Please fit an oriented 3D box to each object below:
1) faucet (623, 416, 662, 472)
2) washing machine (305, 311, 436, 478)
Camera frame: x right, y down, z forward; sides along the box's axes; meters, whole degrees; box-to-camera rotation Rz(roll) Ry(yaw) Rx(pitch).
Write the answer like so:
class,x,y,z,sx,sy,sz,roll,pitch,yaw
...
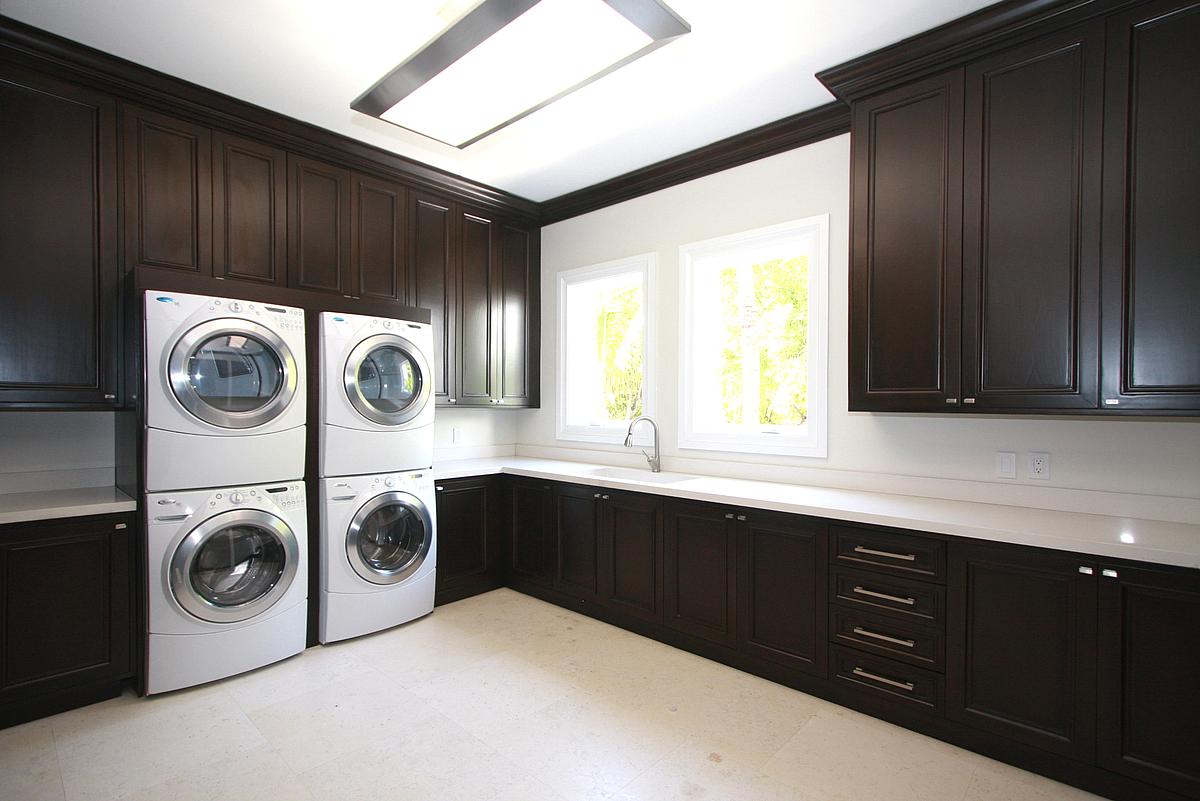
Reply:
class,x,y,z,sx,sy,sz,roll,pitch,yaw
faucet,0.337,0.314,5.792,0.100,0.403,0.360,-3,2,-40
washing machine,-1.738,-0.019,5.421,0.965,1.378,0.909,2,-5,-45
